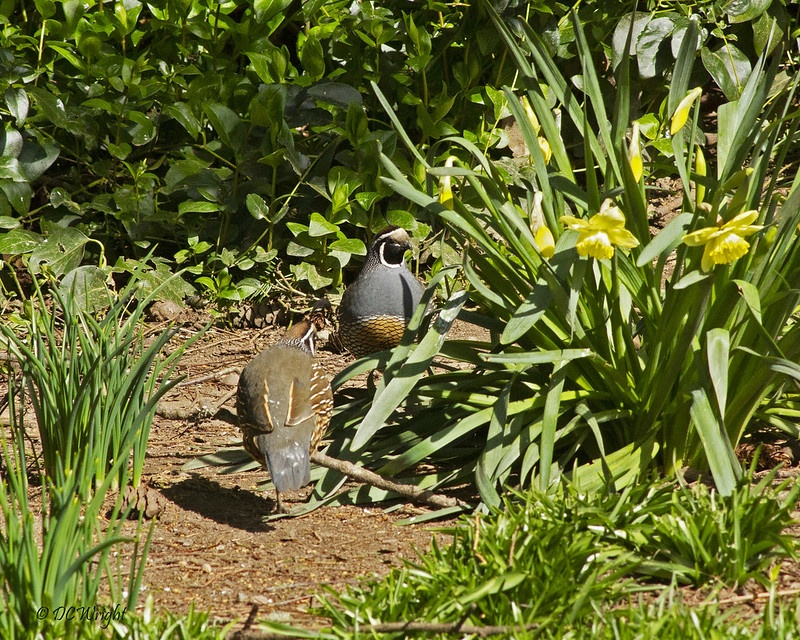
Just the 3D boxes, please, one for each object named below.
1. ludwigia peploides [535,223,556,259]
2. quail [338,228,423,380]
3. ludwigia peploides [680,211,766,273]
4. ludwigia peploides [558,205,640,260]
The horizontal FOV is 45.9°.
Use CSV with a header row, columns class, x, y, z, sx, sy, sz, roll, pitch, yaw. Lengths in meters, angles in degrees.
class,x,y,z,sx,sy,sz,roll,pitch,yaw
ludwigia peploides,0.504,-0.278,3.311,0.068,0.113,0.040,-7,-3,43
quail,-0.096,-0.107,4.623,0.406,0.684,0.335,2,16,-2
ludwigia peploides,1.031,-0.265,3.004,0.188,0.203,0.222,-12,12,-43
ludwigia peploides,0.650,-0.293,3.108,0.236,0.215,0.260,5,16,8
